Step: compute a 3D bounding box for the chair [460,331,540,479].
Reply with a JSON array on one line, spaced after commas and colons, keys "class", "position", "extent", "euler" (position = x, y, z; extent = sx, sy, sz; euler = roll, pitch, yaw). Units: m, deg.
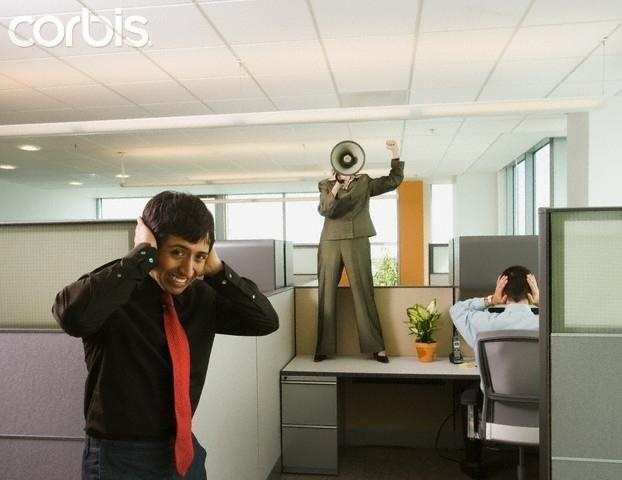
[{"class": "chair", "position": [1.034, 0.892, 2.870], "extent": [0.366, 0.842, 0.716], "euler": [-1, -2, 13]}]

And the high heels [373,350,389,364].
[{"class": "high heels", "position": [0.500, 0.837, 3.643], "extent": [0.045, 0.053, 0.133], "euler": [1, -9, -12]}]

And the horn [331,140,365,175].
[{"class": "horn", "position": [0.240, -0.569, 3.819], "extent": [0.242, 0.254, 0.267], "euler": [-5, -2, 1]}]

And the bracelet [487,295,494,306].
[{"class": "bracelet", "position": [1.084, 0.371, 3.131], "extent": [0.040, 0.061, 0.064], "euler": [1, -10, 9]}]

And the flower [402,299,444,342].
[{"class": "flower", "position": [0.798, 0.577, 3.665], "extent": [0.248, 0.302, 0.230], "euler": [-1, -2, 10]}]

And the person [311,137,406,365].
[{"class": "person", "position": [0.328, 0.132, 3.725], "extent": [0.624, 1.466, 0.272], "euler": [-1, -2, 5]}]

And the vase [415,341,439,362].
[{"class": "vase", "position": [0.802, 0.773, 3.634], "extent": [0.139, 0.109, 0.141], "euler": [1, 0, 14]}]
